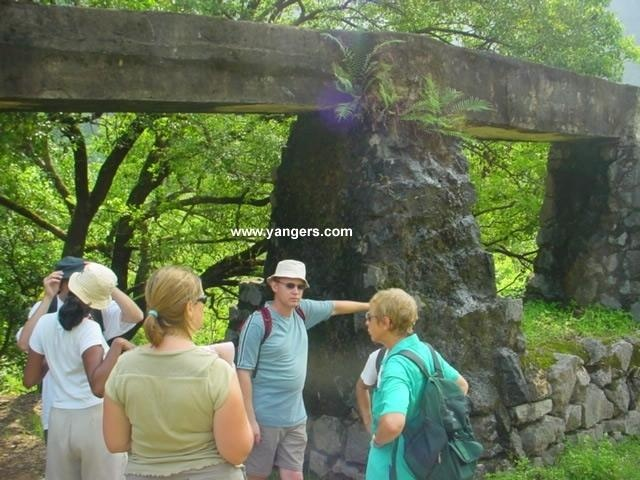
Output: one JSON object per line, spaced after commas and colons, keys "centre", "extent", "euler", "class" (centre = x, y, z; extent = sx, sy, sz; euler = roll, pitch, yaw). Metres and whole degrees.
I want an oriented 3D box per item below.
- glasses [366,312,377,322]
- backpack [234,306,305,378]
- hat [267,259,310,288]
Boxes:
{"centre": [0.492, 0.747, 6.453], "extent": [0.132, 0.048, 0.134], "euler": [8, -2, -4], "class": "glasses"}
{"centre": [-0.584, 0.995, 7.129], "extent": [0.437, 0.731, 0.666], "euler": [11, -10, 27], "class": "backpack"}
{"centre": [-0.319, 0.330, 7.080], "extent": [0.312, 0.176, 0.309], "euler": [11, -4, 4], "class": "hat"}
